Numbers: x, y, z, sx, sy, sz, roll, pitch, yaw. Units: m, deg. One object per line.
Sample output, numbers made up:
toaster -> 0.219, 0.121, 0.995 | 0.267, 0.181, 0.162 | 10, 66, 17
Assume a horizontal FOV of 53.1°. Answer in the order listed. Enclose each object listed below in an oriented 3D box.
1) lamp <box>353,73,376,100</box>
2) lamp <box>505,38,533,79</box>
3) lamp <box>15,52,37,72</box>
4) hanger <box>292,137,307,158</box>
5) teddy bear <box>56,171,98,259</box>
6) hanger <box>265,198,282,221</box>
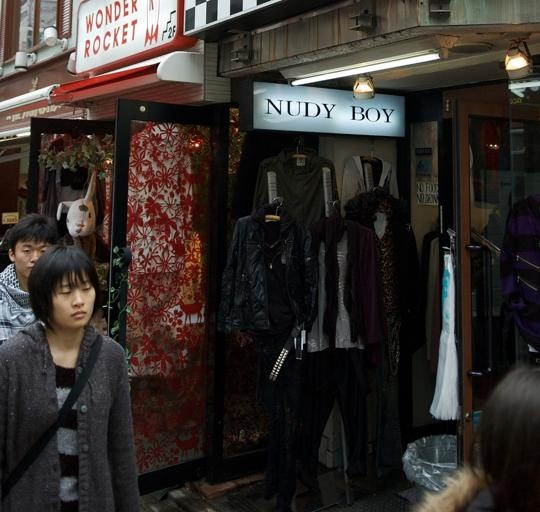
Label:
lamp -> 0.692, -1.239, 3.972 | 0.124, 0.191, 0.145 | 0, -2, 0
lamp -> 1.430, -1.144, 3.113 | 0.135, 0.191, 0.245 | 0, 1, 29
lamp -> -3.753, -3.006, 8.326 | 0.236, 0.317, 0.354 | 14, 15, 42
hanger -> 0.240, -0.890, 4.459 | 0.132, 0.203, 0.157 | 1, -7, -5
teddy bear -> -1.873, -0.519, 5.413 | 0.381, 0.789, 0.347 | 7, -16, -16
hanger -> 0.031, -0.343, 4.027 | 0.129, 0.235, 0.020 | 3, -2, 7
